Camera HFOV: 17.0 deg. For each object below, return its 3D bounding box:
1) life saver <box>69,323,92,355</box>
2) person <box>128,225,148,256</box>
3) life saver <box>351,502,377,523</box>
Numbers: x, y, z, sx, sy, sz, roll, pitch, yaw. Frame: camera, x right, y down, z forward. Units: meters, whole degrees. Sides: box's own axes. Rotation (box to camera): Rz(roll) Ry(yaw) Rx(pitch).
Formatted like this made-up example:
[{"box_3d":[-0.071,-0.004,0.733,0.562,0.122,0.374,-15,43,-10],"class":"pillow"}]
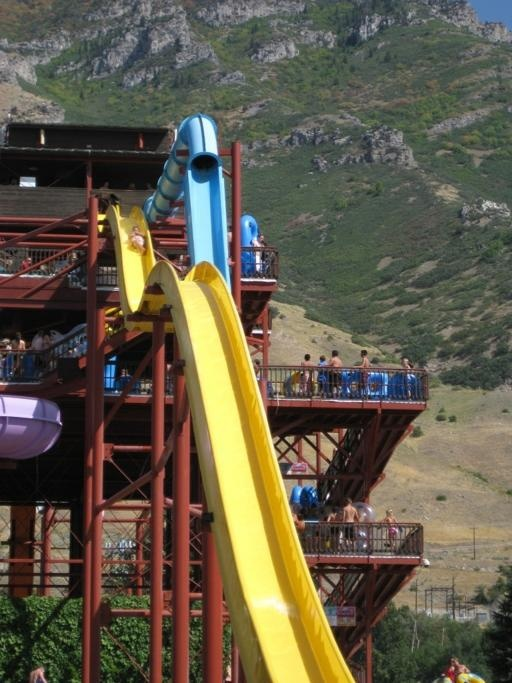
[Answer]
[{"box_3d":[-6.896,-0.037,66.175,0.739,1.216,0.287,11,-2,29],"class":"life saver"},{"box_3d":[-4.432,-3.681,63.558,0.340,0.525,1.005,0,51,-45],"class":"person"},{"box_3d":[4.130,6.675,66.569,0.700,0.835,0.700,-1,-26,18],"class":"life saver"}]
